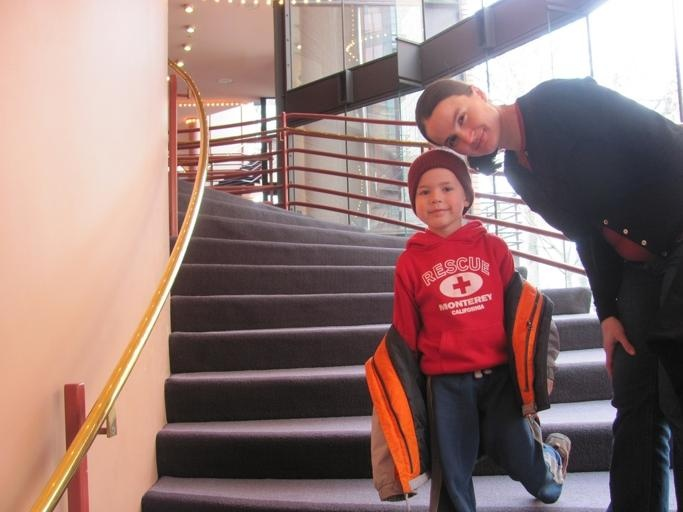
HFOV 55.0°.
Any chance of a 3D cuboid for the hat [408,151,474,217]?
[{"bbox_3d":[0.369,-0.282,2.381,0.173,0.246,0.185,-2,31,8],"label":"hat"}]
